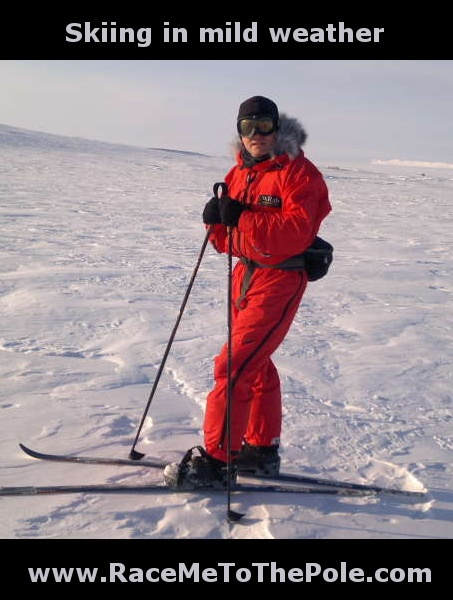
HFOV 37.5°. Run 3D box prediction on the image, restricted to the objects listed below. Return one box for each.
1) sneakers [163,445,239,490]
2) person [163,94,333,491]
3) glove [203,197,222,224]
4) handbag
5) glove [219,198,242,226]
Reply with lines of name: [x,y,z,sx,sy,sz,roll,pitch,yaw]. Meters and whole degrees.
sneakers: [-0.128,0.726,2.825,0.248,0.089,0.223,2,1,24]
person: [0.121,-0.010,2.915,0.638,1.693,0.791,3,19,8]
glove: [-0.070,-0.393,2.952,0.049,0.103,0.086,10,-2,-13]
handbag: [0.270,-0.177,2.871,0.316,0.106,0.195,3,10,-17]
glove: [0.015,-0.365,2.787,0.127,0.124,0.087,7,19,20]
